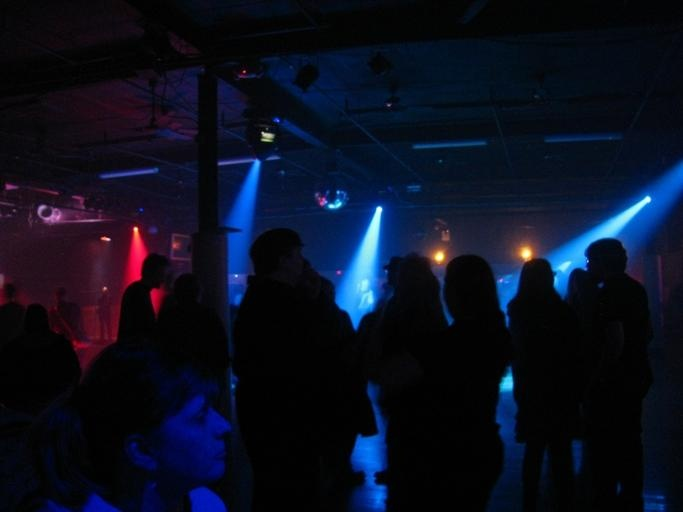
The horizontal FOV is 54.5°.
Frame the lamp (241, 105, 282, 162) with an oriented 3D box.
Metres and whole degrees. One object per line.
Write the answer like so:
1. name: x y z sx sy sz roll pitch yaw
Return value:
1. lamp: -1.072 -1.622 8.730 0.549 0.652 0.256 9 -7 -16
